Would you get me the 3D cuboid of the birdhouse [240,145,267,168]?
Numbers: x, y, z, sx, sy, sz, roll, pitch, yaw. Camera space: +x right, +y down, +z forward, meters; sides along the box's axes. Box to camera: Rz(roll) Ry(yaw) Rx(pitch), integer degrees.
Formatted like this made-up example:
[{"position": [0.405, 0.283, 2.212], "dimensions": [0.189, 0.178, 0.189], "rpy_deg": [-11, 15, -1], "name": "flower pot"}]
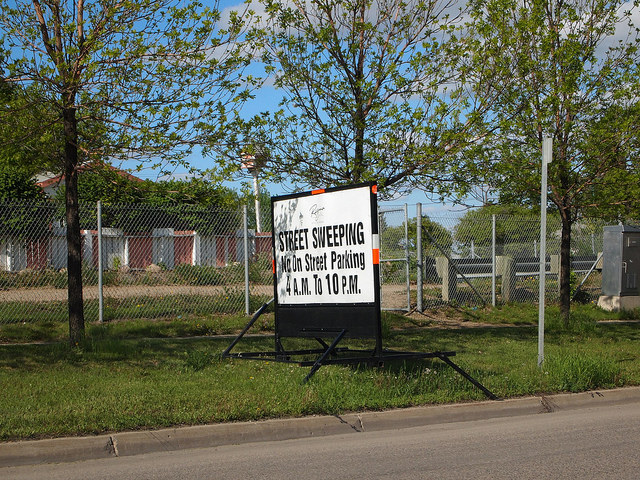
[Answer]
[{"position": [-1.471, -1.813, 18.154], "dimensions": [0.502, 0.383, 0.960], "rpy_deg": [-2, -4, -4], "name": "birdhouse"}]
